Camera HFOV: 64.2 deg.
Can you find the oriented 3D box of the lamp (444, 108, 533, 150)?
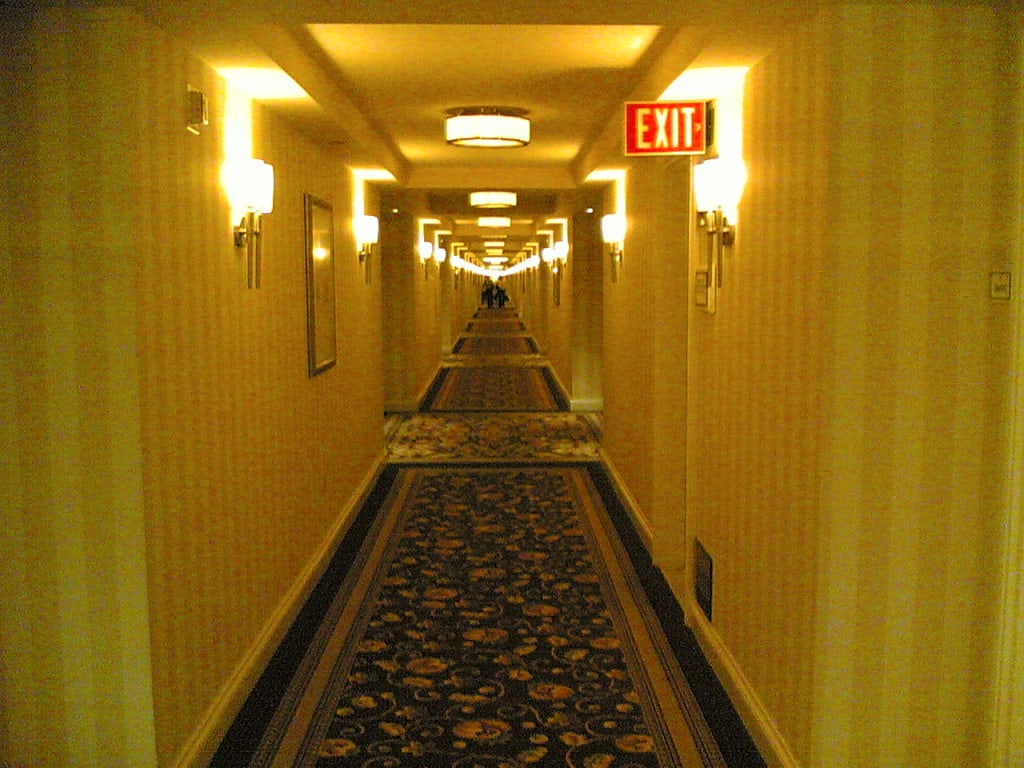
[{"bbox_3d":[-0.163,-1.854,5.909,0.641,0.244,0.673,0,9,-1],"label":"lamp"}]

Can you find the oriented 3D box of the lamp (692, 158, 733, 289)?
[{"bbox_3d":[1.046,-0.824,4.261,0.198,0.642,0.500,2,10,9],"label":"lamp"}]
